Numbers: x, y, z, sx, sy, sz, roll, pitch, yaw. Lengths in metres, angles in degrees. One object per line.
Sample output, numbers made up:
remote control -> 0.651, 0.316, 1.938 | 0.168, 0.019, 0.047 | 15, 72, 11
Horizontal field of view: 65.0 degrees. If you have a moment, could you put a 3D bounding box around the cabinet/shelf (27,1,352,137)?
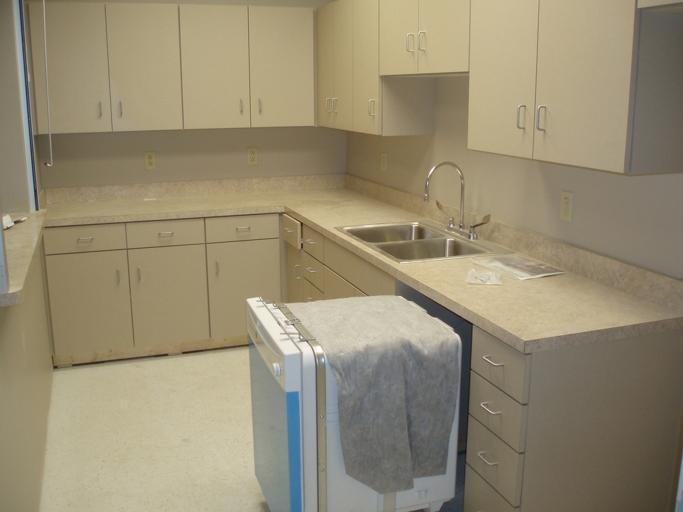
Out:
cabinet/shelf -> -1.130, -1.355, 3.879 | 1.881, 0.886, 0.306 | -8, 13, -22

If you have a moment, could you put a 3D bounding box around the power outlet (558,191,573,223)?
power outlet -> 1.063, -0.234, 2.534 | 0.015, 0.157, 0.106 | -10, 20, -17

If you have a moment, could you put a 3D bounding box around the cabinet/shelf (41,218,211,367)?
cabinet/shelf -> -1.551, 0.227, 3.751 | 0.800, 0.802, 0.340 | -4, 18, -12

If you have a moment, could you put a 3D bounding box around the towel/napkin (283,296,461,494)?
towel/napkin -> 0.102, 0.437, 2.196 | 0.552, 0.649, 0.646 | -5, 18, -14
